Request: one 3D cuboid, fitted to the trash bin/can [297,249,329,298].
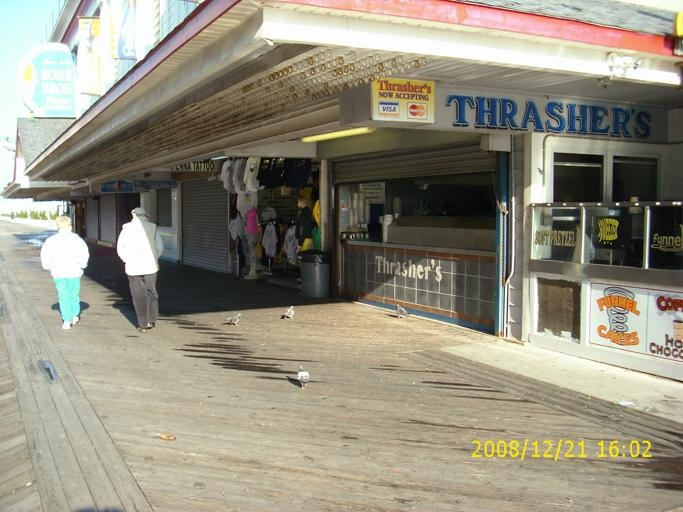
[{"bbox_3d":[-0.617,0.399,13.102,0.751,1.117,0.939,-8,10,-44],"label":"trash bin/can"}]

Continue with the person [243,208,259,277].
[{"bbox_3d":[-2.558,-0.398,16.523,0.386,1.999,1.022,-1,6,-8],"label":"person"}]

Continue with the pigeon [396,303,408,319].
[{"bbox_3d":[1.116,1.046,10.703,0.135,0.184,0.330,-2,8,-13],"label":"pigeon"}]

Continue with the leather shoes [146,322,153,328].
[{"bbox_3d":[-3.311,1.203,9.974,0.146,0.111,0.081,-5,12,-23],"label":"leather shoes"}]

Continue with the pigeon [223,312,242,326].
[{"bbox_3d":[-1.956,1.123,10.336,0.303,0.231,0.684,-1,6,-11],"label":"pigeon"}]

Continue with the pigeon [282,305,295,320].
[{"bbox_3d":[-0.981,1.076,10.759,0.183,0.103,0.235,0,8,5],"label":"pigeon"}]

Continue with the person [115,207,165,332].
[{"bbox_3d":[-3.444,0.226,9.891,0.693,2.094,0.834,-3,6,-21],"label":"person"}]
